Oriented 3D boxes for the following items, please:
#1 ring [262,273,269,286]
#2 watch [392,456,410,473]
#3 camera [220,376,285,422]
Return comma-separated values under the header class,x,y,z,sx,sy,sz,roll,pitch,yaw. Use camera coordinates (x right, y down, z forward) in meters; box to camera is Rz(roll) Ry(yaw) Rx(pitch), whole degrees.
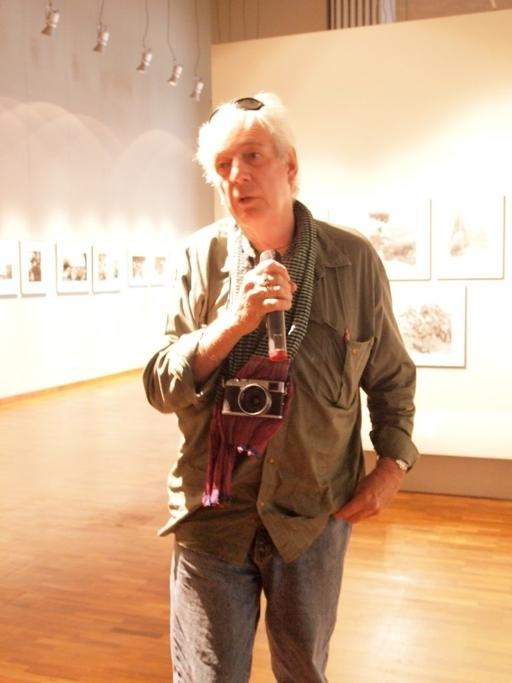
class,x,y,z,sx,sy,sz,roll,pitch,yaw
ring,0.016,-0.104,0.966,0.013,0.017,0.006,-4,-1,23
watch,0.337,0.292,1.369,0.029,0.039,0.012,-1,29,43
camera,-0.006,0.110,1.098,0.129,0.083,0.074,4,-7,10
